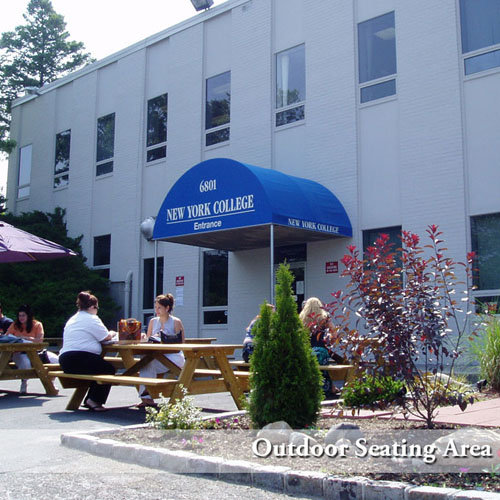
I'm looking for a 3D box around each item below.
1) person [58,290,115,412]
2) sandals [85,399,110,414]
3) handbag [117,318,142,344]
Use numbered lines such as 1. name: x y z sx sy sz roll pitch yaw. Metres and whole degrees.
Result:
1. person: -2.308 1.426 7.599 0.762 1.684 0.547 3 -10 -17
2. sandals: -2.201 2.208 7.542 0.295 0.072 0.144 7 6 36
3. handbag: -1.748 1.148 7.662 0.439 0.436 0.246 1 2 28
